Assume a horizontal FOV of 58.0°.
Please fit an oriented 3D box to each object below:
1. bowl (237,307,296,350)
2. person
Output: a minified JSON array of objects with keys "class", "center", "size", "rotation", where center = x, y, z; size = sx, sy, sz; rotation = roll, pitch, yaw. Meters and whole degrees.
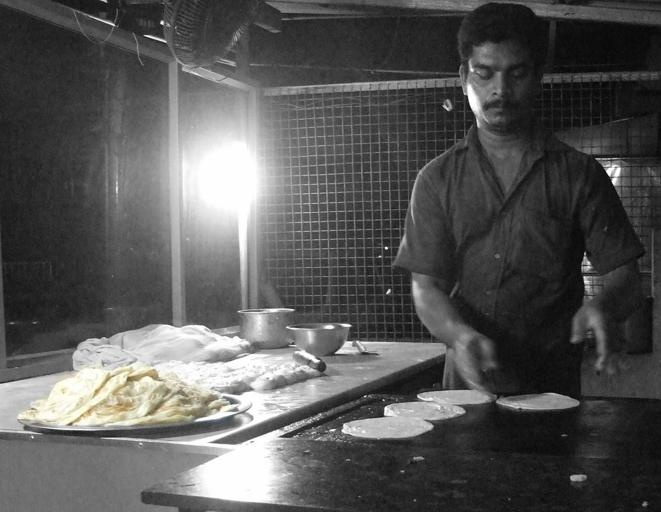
[{"class":"bowl","center":[-0.330,0.398,3.243],"size":[0.316,0.209,0.321],"rotation":[-2,-1,0]},{"class":"person","center":[0.607,-0.161,1.928],"size":[0.801,0.990,0.544],"rotation":[-1,0,4]}]
